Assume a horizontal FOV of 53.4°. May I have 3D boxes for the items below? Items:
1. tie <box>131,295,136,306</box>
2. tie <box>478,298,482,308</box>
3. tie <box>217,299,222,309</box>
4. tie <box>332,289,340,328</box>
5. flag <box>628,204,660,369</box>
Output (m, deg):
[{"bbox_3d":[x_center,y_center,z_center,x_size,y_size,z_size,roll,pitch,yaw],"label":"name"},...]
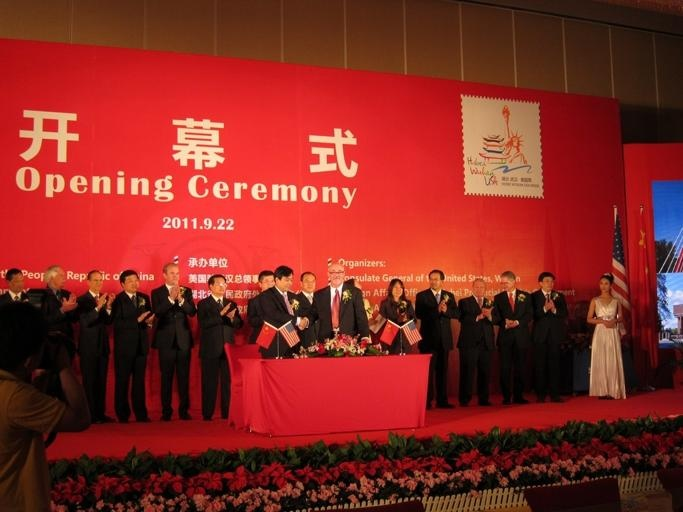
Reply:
[{"bbox_3d":[-2.390,0.488,7.789,0.070,0.108,0.053,2,-4,-38],"label":"tie"},{"bbox_3d":[1.797,0.620,8.850,0.065,0.108,0.027,8,2,6],"label":"tie"},{"bbox_3d":[-1.431,0.560,7.991,0.044,0.092,0.020,5,-23,-27],"label":"tie"},{"bbox_3d":[-0.059,0.579,7.308,0.096,0.414,0.047,-1,-3,-1],"label":"tie"},{"bbox_3d":[4.277,0.393,9.656,0.343,2.299,0.223,-2,-4,21],"label":"flag"}]
